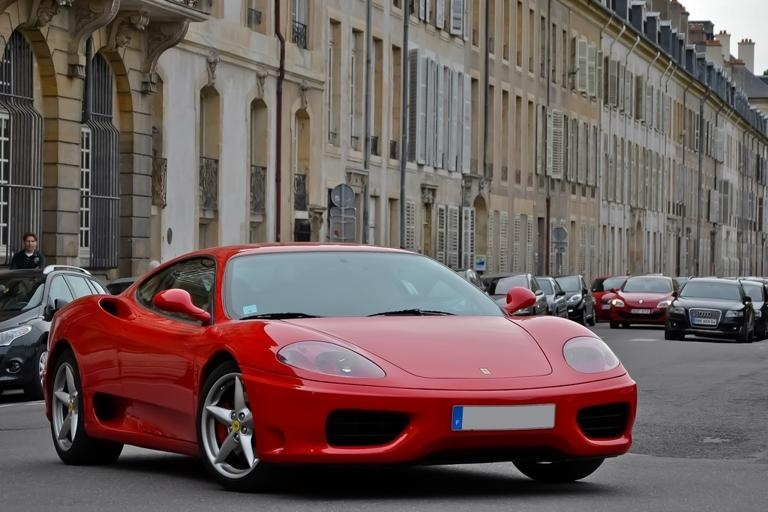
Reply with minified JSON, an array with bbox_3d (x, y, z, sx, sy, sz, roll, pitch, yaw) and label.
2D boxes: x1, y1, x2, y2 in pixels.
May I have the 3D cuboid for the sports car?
[{"bbox_3d":[-0.505,0.850,8.054,4.568,1.936,1.932,0,-2,33],"label":"sports car"}]

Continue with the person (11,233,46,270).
[{"bbox_3d":[-7.041,0.046,20.885,0.609,1.026,0.488,2,-19,-11],"label":"person"}]
